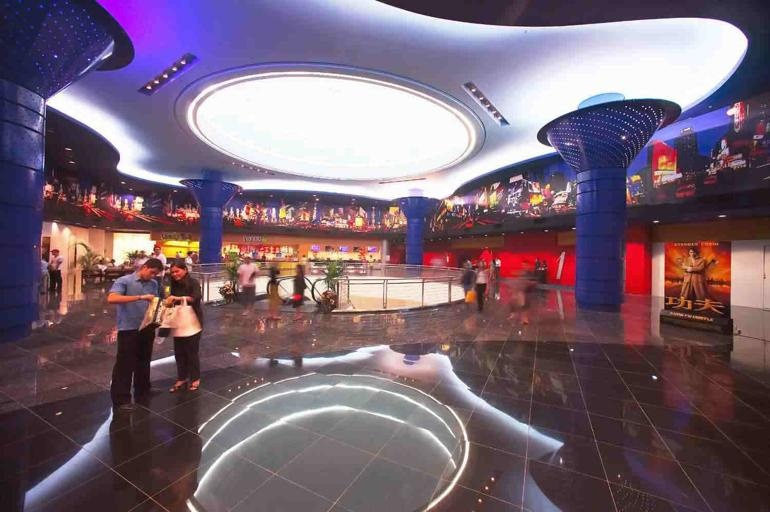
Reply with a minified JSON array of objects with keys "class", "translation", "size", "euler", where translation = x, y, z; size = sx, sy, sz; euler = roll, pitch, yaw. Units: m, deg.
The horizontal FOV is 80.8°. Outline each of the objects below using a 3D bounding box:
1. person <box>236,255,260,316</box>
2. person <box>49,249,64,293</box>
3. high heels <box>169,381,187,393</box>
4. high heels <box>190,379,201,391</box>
[{"class":"person","translation":[-4.416,0.937,14.529],"size":[0.598,1.873,0.860],"euler":[0,-1,-19]},{"class":"person","translation":[-13.633,0.597,18.620],"size":[0.470,1.723,1.324],"euler":[1,-1,-37]},{"class":"high heels","translation":[-4.452,2.799,9.735],"size":[0.162,0.174,0.419],"euler":[-4,-15,11]},{"class":"high heels","translation":[-4.122,2.784,9.747],"size":[0.194,0.151,0.357],"euler":[0,-8,-15]}]
